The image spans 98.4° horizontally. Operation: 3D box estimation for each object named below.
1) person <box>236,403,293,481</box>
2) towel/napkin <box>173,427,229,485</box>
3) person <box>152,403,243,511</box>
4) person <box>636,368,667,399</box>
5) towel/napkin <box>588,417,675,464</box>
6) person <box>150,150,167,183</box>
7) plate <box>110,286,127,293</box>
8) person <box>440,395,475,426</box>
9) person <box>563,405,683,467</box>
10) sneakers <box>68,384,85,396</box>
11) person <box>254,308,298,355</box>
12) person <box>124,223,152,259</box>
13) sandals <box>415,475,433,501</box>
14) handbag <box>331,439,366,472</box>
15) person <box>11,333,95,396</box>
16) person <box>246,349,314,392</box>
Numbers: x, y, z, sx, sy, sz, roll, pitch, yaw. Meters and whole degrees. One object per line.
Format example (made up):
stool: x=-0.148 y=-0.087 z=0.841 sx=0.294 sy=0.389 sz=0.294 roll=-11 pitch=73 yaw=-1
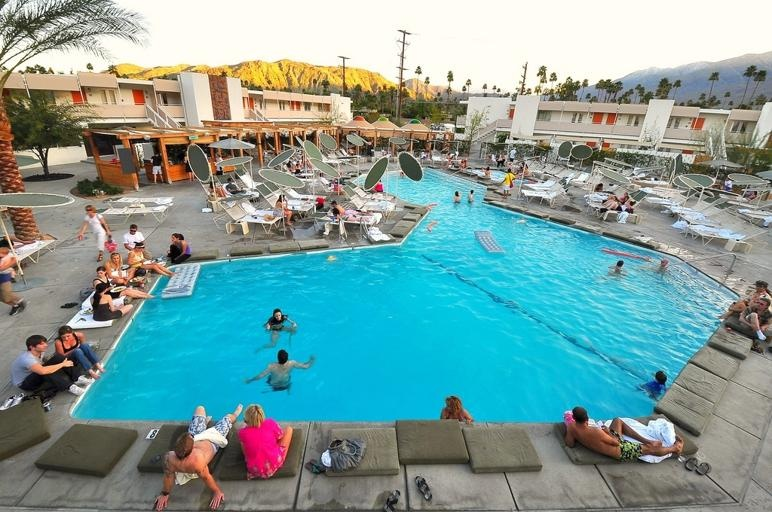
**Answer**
person: x=-2.520 y=3.880 z=6.991 sx=0.962 sy=1.625 sz=0.645 roll=-9 pitch=25 yaw=-25
towel/napkin: x=-4.011 y=4.187 z=7.008 sx=1.121 sy=0.276 sz=0.939 roll=-5 pitch=39 yaw=36
person: x=-3.884 y=4.147 z=7.042 sx=1.027 sy=0.856 sz=1.959 roll=7 pitch=24 yaw=-6
person: x=7.618 y=3.550 z=9.384 sx=0.683 sy=0.765 sz=0.536 roll=-18 pitch=29 yaw=-42
towel/napkin: x=5.987 y=4.297 z=7.766 sx=1.553 sy=0.377 sz=1.027 roll=-6 pitch=21 yaw=-8
person: x=-16.253 y=-6.305 z=23.539 sx=0.840 sy=2.089 sz=0.955 roll=-12 pitch=26 yaw=-30
plate: x=-9.124 y=1.125 z=11.317 sx=0.346 sy=0.099 sz=0.554 roll=-10 pitch=21 yaw=-34
person: x=1.773 y=3.789 z=8.363 sx=0.691 sy=0.381 sz=0.803 roll=2 pitch=9 yaw=1
person: x=5.491 y=3.979 z=7.645 sx=2.596 sy=0.852 sz=1.210 roll=-6 pitch=25 yaw=-2
sneakers: x=-7.825 y=3.397 z=8.406 sx=0.455 sy=0.163 sz=0.166 roll=9 pitch=31 yaw=-2
person: x=-3.524 y=2.456 z=10.609 sx=1.146 sy=1.291 sz=0.770 roll=-9 pitch=35 yaw=-16
person: x=-9.821 y=-0.267 z=12.932 sx=0.646 sy=1.824 sz=0.767 roll=34 pitch=28 yaw=30
sandals: x=0.789 y=4.891 z=6.998 sx=0.260 sy=0.088 sz=0.426 roll=-13 pitch=32 yaw=-14
handbag: x=-0.850 y=4.346 z=7.241 sx=0.775 sy=0.331 sz=0.531 roll=1 pitch=19 yaw=-2
person: x=-8.401 y=2.724 z=8.417 sx=1.701 sy=1.017 sz=0.883 roll=7 pitch=11 yaw=-3
person: x=-2.936 y=3.326 z=9.387 sx=1.887 sy=0.602 sz=0.754 roll=-5 pitch=21 yaw=-21
